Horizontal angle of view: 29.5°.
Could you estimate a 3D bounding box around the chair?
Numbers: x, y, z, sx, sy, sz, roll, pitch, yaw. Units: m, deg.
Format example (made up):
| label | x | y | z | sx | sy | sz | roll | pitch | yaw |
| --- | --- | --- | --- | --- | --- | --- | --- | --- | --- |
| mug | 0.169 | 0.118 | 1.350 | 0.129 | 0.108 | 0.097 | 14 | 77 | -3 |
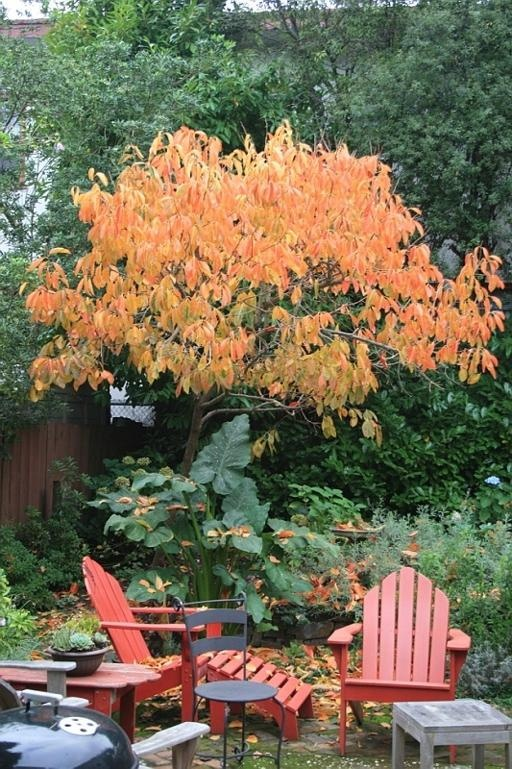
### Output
| label | x | y | z | sx | sy | sz | roll | pitch | yaw |
| --- | --- | --- | --- | --- | --- | --- | --- | --- | --- |
| chair | -0.053 | 1.506 | 5.395 | 2.359 | 0.883 | 1.048 | -1 | 0 | 5 |
